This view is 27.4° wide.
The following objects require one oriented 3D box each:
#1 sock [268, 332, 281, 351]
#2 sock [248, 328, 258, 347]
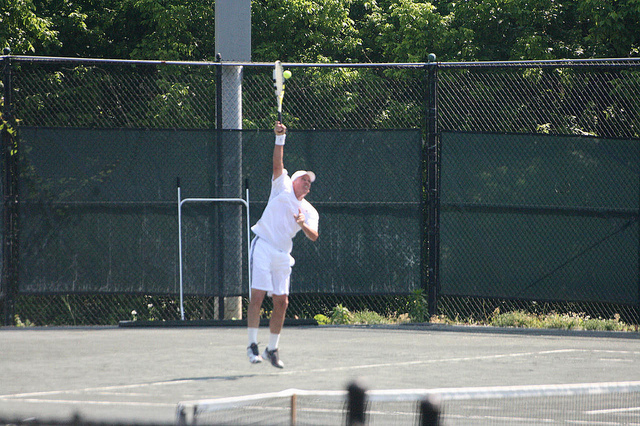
[{"bbox_3d":[-0.823,2.291,23.375,0.176,0.312,0.402,1,1,-2],"label":"sock"},{"bbox_3d":[-1.205,2.231,23.430,0.163,0.324,0.135,1,1,17],"label":"sock"}]
